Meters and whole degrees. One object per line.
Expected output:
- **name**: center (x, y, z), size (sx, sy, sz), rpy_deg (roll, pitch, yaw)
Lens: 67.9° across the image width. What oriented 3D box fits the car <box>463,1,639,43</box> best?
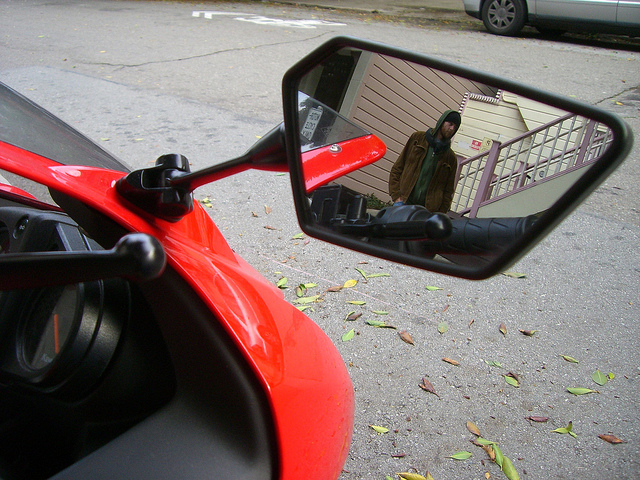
- **car**: center (4.627, -4.353, 9.437), size (2.794, 0.580, 1.305), rpy_deg (14, 17, 18)
